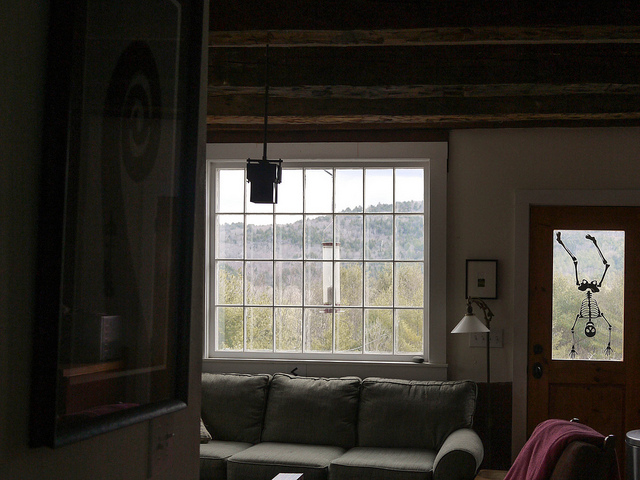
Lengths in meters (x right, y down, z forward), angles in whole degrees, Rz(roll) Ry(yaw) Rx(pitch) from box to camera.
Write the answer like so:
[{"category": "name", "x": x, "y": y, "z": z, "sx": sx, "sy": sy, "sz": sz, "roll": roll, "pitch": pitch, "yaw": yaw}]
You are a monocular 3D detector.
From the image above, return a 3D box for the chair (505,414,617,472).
[{"category": "chair", "x": 1.148, "y": 1.037, "z": 3.078, "sx": 0.352, "sy": 0.286, "sz": 0.483, "roll": 1, "pitch": -4, "yaw": 0}]

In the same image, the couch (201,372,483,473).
[{"category": "couch", "x": 0.083, "y": 1.177, "z": 4.109, "sx": 1.833, "sy": 0.535, "sz": 0.706, "roll": 0, "pitch": -4, "yaw": 12}]
